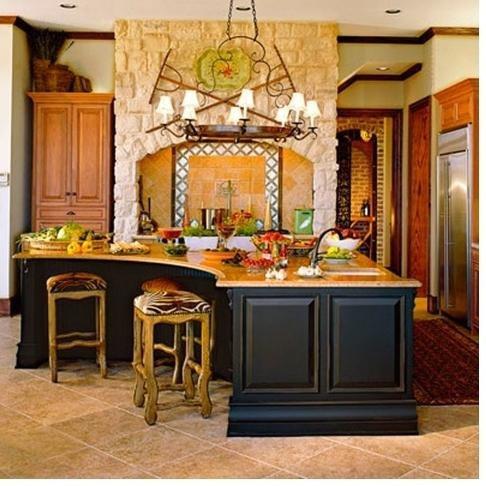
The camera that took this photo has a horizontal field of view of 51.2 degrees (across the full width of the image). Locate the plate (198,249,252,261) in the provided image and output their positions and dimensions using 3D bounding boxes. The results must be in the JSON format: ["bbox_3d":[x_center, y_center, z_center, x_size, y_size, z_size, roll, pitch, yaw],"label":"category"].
[{"bbox_3d":[-0.132,0.089,3.754,0.338,0.085,0.358,1,2,1],"label":"plate"}]

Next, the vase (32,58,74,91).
[{"bbox_3d":[-2.382,-2.065,6.400,0.489,0.313,0.411,-1,5,-17],"label":"vase"}]

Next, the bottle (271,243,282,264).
[{"bbox_3d":[0.240,0.067,3.476,0.071,0.142,0.161,1,2,3],"label":"bottle"}]

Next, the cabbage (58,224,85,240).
[{"bbox_3d":[-1.443,-0.093,4.262,0.176,0.094,0.135,-3,6,-24],"label":"cabbage"}]

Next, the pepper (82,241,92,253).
[{"bbox_3d":[-1.266,0.033,4.151,0.085,0.079,0.086,-4,-3,-14],"label":"pepper"}]

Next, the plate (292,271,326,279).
[{"bbox_3d":[0.418,0.199,3.160,0.174,0.031,0.159,1,2,8],"label":"plate"}]

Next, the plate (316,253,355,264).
[{"bbox_3d":[0.696,0.121,3.790,0.241,0.071,0.233,1,2,10],"label":"plate"}]

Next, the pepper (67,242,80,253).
[{"bbox_3d":[-1.366,0.040,4.120,0.110,0.093,0.097,-1,3,-35],"label":"pepper"}]

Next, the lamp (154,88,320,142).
[{"bbox_3d":[0.000,-1.027,4.257,1.260,0.307,1.215,0,14,-4],"label":"lamp"}]

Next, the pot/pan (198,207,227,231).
[{"bbox_3d":[-0.388,-0.334,6.808,0.362,0.272,0.295,0,2,-4],"label":"pot/pan"}]

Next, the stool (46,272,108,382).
[{"bbox_3d":[-1.337,0.645,4.109,0.480,0.806,0.564,0,2,-20],"label":"stool"}]

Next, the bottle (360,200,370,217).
[{"bbox_3d":[2.248,-0.639,9.298,0.194,0.324,0.125,2,3,23],"label":"bottle"}]

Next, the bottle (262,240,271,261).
[{"bbox_3d":[0.168,0.047,3.516,0.053,0.118,0.096,1,2,2],"label":"bottle"}]
